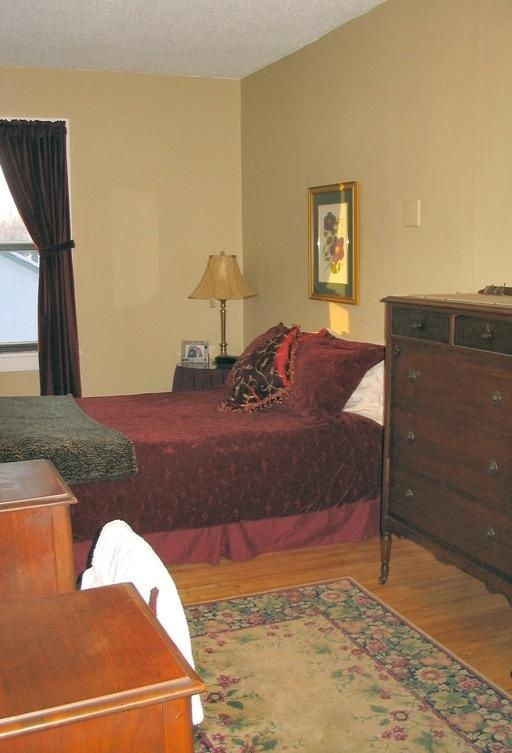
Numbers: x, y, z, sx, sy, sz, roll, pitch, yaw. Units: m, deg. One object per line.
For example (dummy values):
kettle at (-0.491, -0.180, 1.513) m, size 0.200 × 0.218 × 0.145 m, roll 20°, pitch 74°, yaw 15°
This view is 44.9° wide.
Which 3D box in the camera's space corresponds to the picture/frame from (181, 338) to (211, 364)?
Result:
picture/frame at (-0.482, -0.189, 5.113) m, size 0.316 × 0.275 × 0.163 m, roll 1°, pitch 4°, yaw 3°

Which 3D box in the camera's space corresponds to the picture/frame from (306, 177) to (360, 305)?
picture/frame at (0.515, -0.901, 4.062) m, size 0.068 × 0.984 × 0.823 m, roll -4°, pitch 9°, yaw -22°
